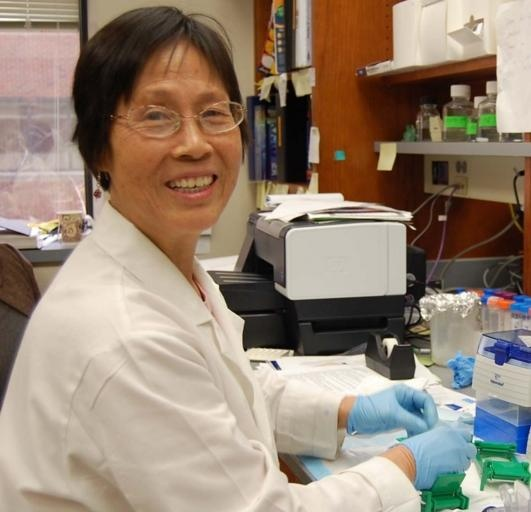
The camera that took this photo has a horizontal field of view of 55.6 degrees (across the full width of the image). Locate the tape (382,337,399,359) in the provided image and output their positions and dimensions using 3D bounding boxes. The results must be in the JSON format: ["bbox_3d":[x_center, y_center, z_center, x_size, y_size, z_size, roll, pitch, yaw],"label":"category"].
[{"bbox_3d":[0.337,0.242,1.380,0.027,0.049,0.048,1,-11,-5],"label":"tape"}]

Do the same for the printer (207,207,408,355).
[{"bbox_3d":[0.161,0.098,1.665,0.414,0.346,0.504,0,3,-9],"label":"printer"}]
